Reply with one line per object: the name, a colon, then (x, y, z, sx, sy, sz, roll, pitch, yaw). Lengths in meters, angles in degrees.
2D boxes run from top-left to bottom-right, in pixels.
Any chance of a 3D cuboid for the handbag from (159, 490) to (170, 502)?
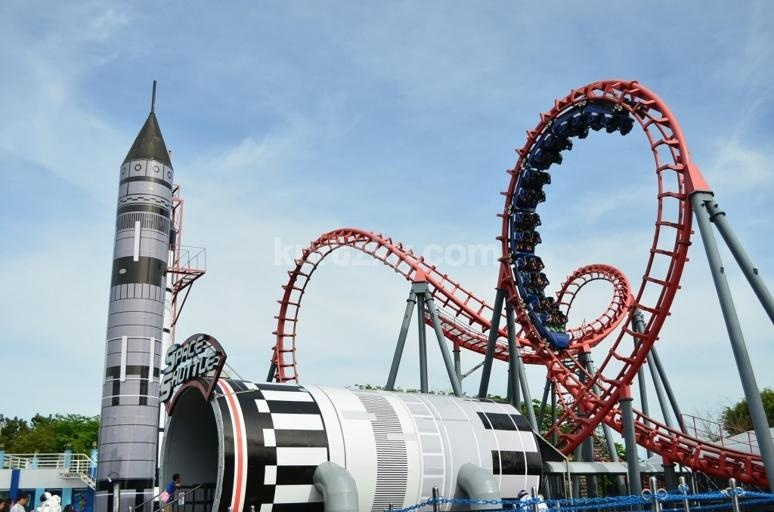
handbag: (-8.088, 8.739, 24.917, 0.297, 0.412, 0.420, 6, -26, -18)
